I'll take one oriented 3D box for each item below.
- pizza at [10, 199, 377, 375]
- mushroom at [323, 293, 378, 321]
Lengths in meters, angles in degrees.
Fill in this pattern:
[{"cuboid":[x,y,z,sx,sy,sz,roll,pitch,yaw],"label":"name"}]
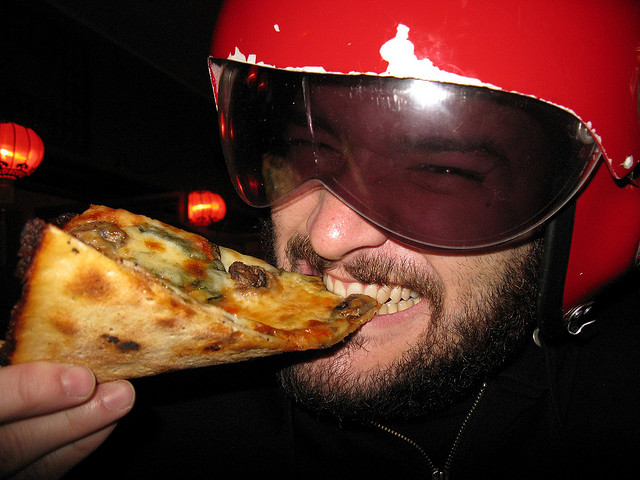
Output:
[{"cuboid":[-0.500,0.221,2.417,0.937,0.421,0.812,14,6,1],"label":"pizza"},{"cuboid":[0.135,0.270,2.610,0.163,0.050,0.096,-24,25,-36],"label":"mushroom"}]
